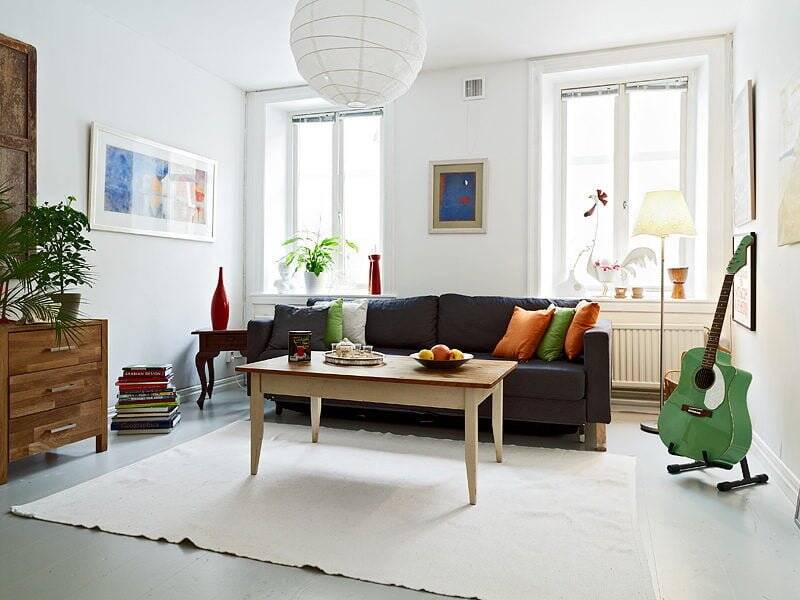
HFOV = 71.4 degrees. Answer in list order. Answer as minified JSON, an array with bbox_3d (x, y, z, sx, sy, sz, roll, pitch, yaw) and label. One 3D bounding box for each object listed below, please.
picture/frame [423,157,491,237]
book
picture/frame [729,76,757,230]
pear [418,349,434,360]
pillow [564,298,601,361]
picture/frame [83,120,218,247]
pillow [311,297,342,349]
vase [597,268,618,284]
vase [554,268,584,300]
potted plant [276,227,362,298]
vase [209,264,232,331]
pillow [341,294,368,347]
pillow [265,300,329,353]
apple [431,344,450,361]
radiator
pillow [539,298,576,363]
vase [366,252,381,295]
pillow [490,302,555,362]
[{"bbox_3d":[0.551,-0.950,5.151,0.668,0.879,0.063,0,0,11],"label":"picture/frame"},{"bbox_3d":[-1.850,0.710,4.147,0.468,0.506,0.443,1,-2,-15],"label":"book"},{"bbox_3d":[2.473,-1.034,3.992,0.078,1.035,0.648,3,8,22],"label":"picture/frame"},{"bbox_3d":[0.145,0.333,3.203,0.059,0.052,0.050,33,39,31],"label":"pear"},{"bbox_3d":[1.328,0.224,4.089,0.213,0.396,0.351,5,9,34],"label":"pillow"},{"bbox_3d":[-2.110,-0.959,4.616,0.042,0.811,1.254,1,-1,20],"label":"picture/frame"},{"bbox_3d":[-0.617,0.213,4.648,0.307,0.352,0.124,-10,-22,28],"label":"pillow"},{"bbox_3d":[1.821,-0.207,4.871,0.201,0.130,0.096,-6,10,-34],"label":"vase"},{"bbox_3d":[1.481,-0.134,4.869,0.228,0.266,0.235,-3,5,-43],"label":"vase"},{"bbox_3d":[-0.896,-0.392,5.757,0.900,0.636,0.497,4,9,24],"label":"potted plant"},{"bbox_3d":[-1.629,-0.007,5.011,0.145,0.546,0.423,-3,8,-19],"label":"vase"},{"bbox_3d":[-0.388,0.194,4.691,0.313,0.418,0.154,-2,-24,10],"label":"pillow"},{"bbox_3d":[-0.873,0.191,4.733,0.605,0.550,0.292,1,3,-1],"label":"pillow"},{"bbox_3d":[0.230,0.306,3.209,0.081,0.084,0.083,3,-5,-30],"label":"apple"},{"bbox_3d":[2.056,0.473,4.639,0.057,0.510,0.687,-5,-4,-11],"label":"radiator"},{"bbox_3d":[1.171,0.251,4.142,0.200,0.399,0.322,18,-4,-30],"label":"pillow"},{"bbox_3d":[-0.242,-0.241,5.380,0.114,0.377,0.154,-1,8,-3],"label":"vase"},{"bbox_3d":[0.924,0.232,4.182,0.122,0.415,0.412,29,-12,-24],"label":"pillow"}]
